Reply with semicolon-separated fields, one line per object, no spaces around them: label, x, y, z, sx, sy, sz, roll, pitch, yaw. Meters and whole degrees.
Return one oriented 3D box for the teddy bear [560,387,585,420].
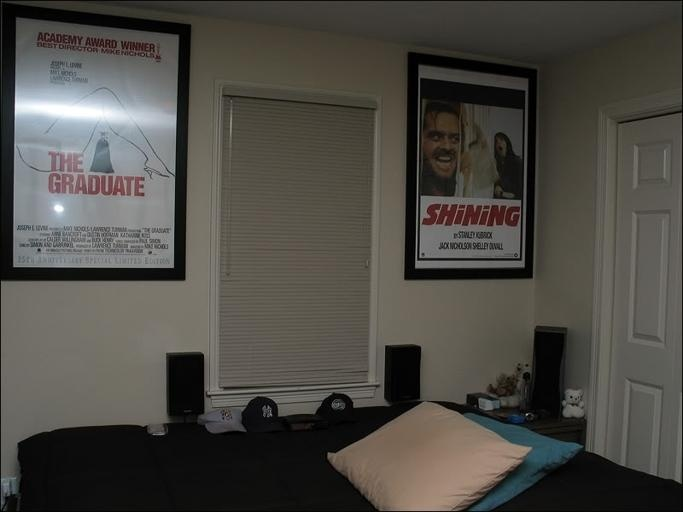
teddy bear;1.644;1.076;3.991;0.192;0.261;0.176;1;-8;5

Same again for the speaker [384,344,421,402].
speaker;0.442;0.826;3.973;0.262;0.398;0.145;0;5;1

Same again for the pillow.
pillow;0.557;1.017;2.810;1.158;0.370;0.673;1;1;-15

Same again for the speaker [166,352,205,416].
speaker;-0.998;0.804;3.527;0.245;0.433;0.154;0;11;-10
